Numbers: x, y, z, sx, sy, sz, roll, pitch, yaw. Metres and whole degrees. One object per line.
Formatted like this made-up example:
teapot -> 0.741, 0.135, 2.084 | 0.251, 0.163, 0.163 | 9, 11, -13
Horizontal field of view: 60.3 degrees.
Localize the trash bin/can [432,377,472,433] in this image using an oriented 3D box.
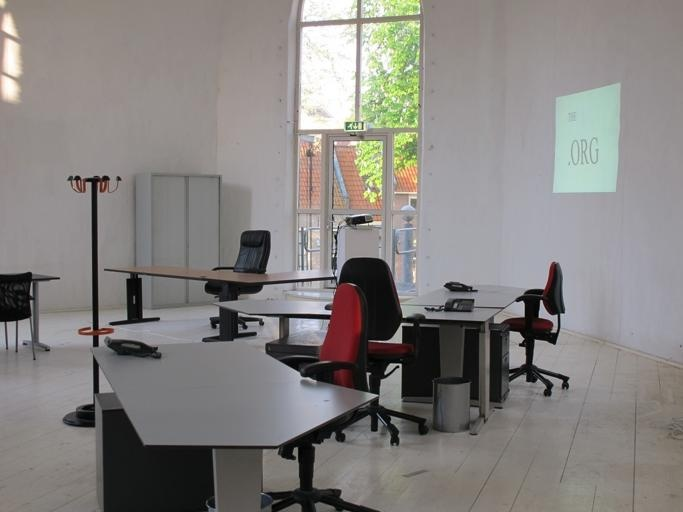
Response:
trash bin/can -> 0.885, 1.237, 4.936 | 0.345, 0.386, 0.367 | 0, 0, -8
